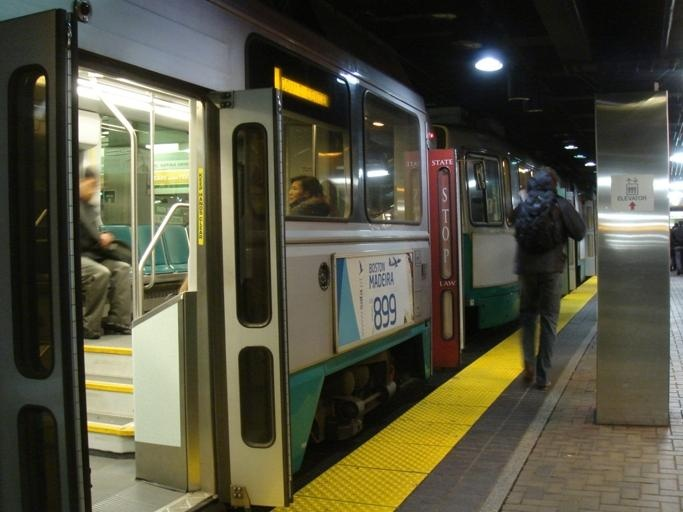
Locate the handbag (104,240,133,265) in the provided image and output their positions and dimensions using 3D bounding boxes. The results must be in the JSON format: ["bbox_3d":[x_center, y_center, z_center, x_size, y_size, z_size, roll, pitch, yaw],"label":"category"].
[{"bbox_3d":[-2.389,-0.049,6.199,0.078,0.311,0.220,3,19,45],"label":"handbag"}]

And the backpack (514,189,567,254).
[{"bbox_3d":[2.182,-0.363,6.316,0.417,0.826,0.530,12,-16,-34],"label":"backpack"}]
